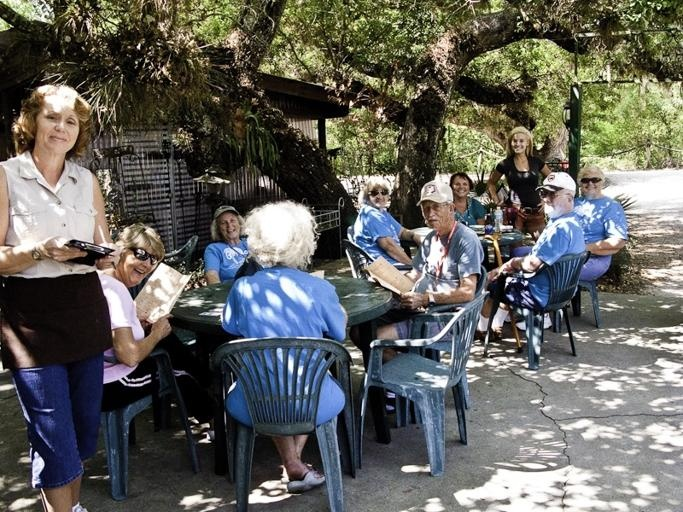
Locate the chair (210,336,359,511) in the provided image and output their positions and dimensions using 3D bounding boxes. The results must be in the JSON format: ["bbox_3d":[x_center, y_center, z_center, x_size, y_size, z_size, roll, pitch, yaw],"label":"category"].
[{"bbox_3d":[-0.271,0.755,3.218,0.864,1.194,0.859,-1,20,1],"label":"chair"}]

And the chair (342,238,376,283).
[{"bbox_3d":[0.152,0.037,5.113,0.313,0.404,0.299,-13,29,-3],"label":"chair"}]

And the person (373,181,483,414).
[{"bbox_3d":[0.595,0.299,4.280,0.907,1.709,0.843,-2,3,-18],"label":"person"}]

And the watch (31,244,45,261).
[{"bbox_3d":[-1.226,-0.014,2.346,0.047,0.053,0.027,34,31,15],"label":"watch"}]

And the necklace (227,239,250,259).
[{"bbox_3d":[-0.841,-0.049,4.667,0.140,0.092,0.168,1,48,-40],"label":"necklace"}]

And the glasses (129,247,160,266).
[{"bbox_3d":[-1.087,0.003,3.200,0.145,0.049,0.149,37,8,33],"label":"glasses"}]

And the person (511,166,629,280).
[{"bbox_3d":[2.402,-0.384,5.982,0.924,1.237,0.968,0,15,8],"label":"person"}]

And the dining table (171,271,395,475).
[{"bbox_3d":[-0.382,0.612,3.572,1.154,0.744,1.176,1,8,11],"label":"dining table"}]

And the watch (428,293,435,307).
[{"bbox_3d":[0.628,0.304,4.022,0.049,0.072,0.077,0,-6,-1],"label":"watch"}]

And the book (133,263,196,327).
[{"bbox_3d":[-1.054,0.253,3.584,0.320,0.347,0.112,25,-12,27],"label":"book"}]

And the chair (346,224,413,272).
[{"bbox_3d":[0.290,-0.066,5.390,0.457,0.616,0.458,-3,17,1],"label":"chair"}]

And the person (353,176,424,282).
[{"bbox_3d":[0.442,-0.303,5.426,0.671,0.820,0.550,1,7,12],"label":"person"}]

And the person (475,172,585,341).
[{"bbox_3d":[1.646,0.076,5.143,0.976,1.561,0.705,1,7,27],"label":"person"}]

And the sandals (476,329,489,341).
[{"bbox_3d":[1.300,0.751,5.393,0.027,0.115,0.117,8,32,-12],"label":"sandals"}]

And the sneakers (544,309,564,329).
[{"bbox_3d":[2.158,0.638,5.811,0.148,0.182,0.453,-3,-5,29],"label":"sneakers"}]

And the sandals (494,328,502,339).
[{"bbox_3d":[1.491,0.753,5.508,0.047,0.053,0.144,-1,0,4],"label":"sandals"}]

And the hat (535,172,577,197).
[{"bbox_3d":[1.852,-0.615,4.936,0.302,0.159,0.214,10,3,-16],"label":"hat"}]
